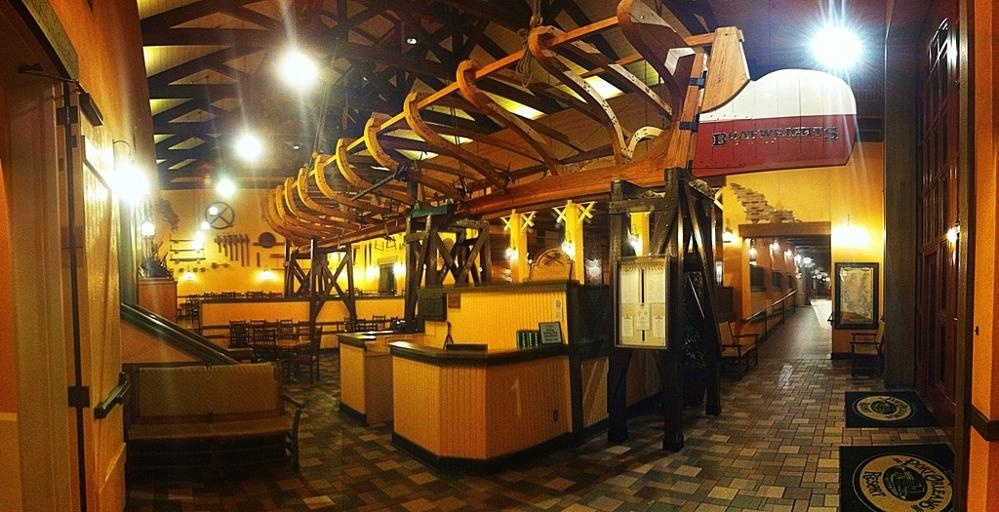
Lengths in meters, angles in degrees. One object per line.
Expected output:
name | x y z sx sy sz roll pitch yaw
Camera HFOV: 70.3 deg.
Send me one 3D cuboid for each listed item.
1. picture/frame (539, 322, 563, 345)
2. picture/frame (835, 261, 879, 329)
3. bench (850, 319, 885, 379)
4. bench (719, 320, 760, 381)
picture/frame | 0.947 1.430 13.147 0.432 0.360 0.032 9 -21 -27
picture/frame | 9.017 0.970 17.995 1.140 1.704 0.141 0 -1 -1
bench | 8.888 2.169 17.190 0.756 1.196 1.781 -4 -3 25
bench | 5.817 2.328 17.309 0.559 0.842 1.620 -1 0 28
